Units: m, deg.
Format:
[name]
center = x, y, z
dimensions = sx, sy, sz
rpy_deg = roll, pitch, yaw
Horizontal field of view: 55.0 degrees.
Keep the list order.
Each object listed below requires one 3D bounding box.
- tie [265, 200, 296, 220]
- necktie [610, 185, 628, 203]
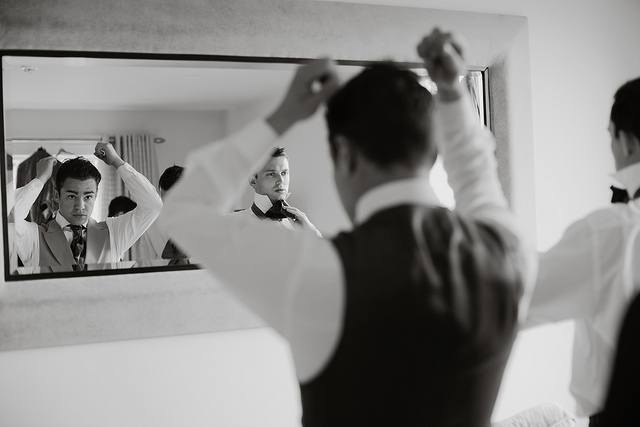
[tie]
center = -0.220, -0.010, 3.176
dimensions = 0.108, 0.109, 0.042
rpy_deg = -1, 16, -9
[necktie]
center = 1.020, -0.062, 2.090
dimensions = 0.046, 0.044, 0.324
rpy_deg = -4, 4, 25
